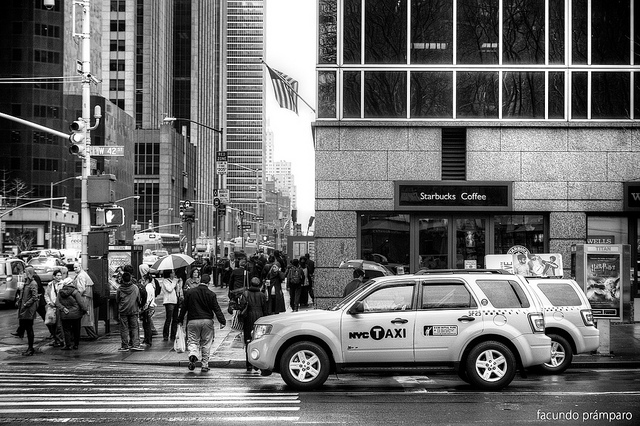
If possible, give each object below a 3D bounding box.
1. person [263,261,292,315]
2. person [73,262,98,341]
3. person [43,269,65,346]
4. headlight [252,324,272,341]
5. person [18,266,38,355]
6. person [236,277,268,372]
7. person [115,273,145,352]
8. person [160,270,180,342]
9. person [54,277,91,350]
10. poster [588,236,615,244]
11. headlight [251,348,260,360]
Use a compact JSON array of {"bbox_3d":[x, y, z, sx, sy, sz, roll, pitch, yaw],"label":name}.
[{"bbox_3d":[-1.893,3.149,43.646,0.908,1.961,0.785,-2,0,8],"label":"person"},{"bbox_3d":[-9.250,3.445,41.161,0.736,2.721,0.857,-2,-3,21],"label":"person"},{"bbox_3d":[-10.455,3.583,40.862,0.802,3.072,0.950,-1,-1,2],"label":"person"},{"bbox_3d":[-1.965,3.918,34.443,0.461,0.285,0.595,0,-17,-4],"label":"headlight"},{"bbox_3d":[-11.281,3.712,40.485,0.878,3.223,1.155,2,-8,-6],"label":"person"},{"bbox_3d":[-2.625,3.874,37.507,1.226,3.228,1.007,1,3,-43],"label":"person"},{"bbox_3d":[-7.437,3.810,39.830,1.073,2.942,0.974,-3,-3,-39],"label":"person"},{"bbox_3d":[-5.938,3.604,41.351,1.127,2.875,1.347,0,0,-3],"label":"person"},{"bbox_3d":[-9.577,3.814,40.291,1.165,2.779,1.235,0,-1,-11],"label":"person"},{"bbox_3d":[11.825,1.144,44.115,0.995,0.276,1.658,-1,1,20],"label":"poster"},{"bbox_3d":[-2.132,4.602,34.234,0.375,0.406,0.135,0,-5,14],"label":"headlight"}]
